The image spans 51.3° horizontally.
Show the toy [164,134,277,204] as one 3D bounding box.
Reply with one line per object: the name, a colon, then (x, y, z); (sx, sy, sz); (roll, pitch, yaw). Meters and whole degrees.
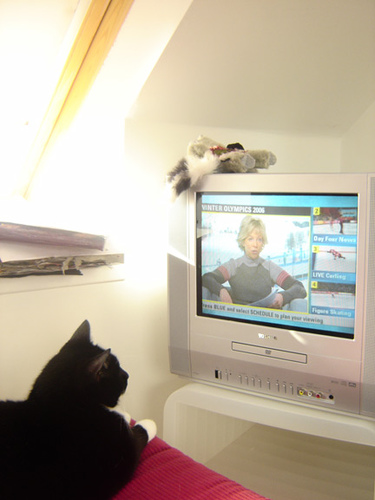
toy: (0.092, -0.235, 1.134); (0.235, 0.100, 0.210); (5, 16, -19)
